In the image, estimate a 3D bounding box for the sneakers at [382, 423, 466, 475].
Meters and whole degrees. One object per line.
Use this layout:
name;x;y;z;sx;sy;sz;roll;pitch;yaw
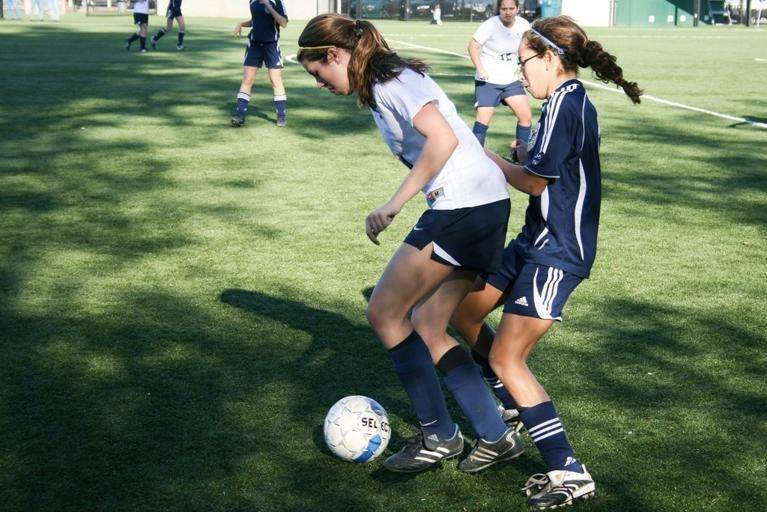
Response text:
sneakers;0.234;1.108;3.697;0.552;0.217;0.196;-15;3;-8

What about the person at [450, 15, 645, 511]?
person;0.887;-0.001;3.503;0.850;2.550;1.108;5;20;7

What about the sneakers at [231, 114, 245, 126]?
sneakers;-2.373;-2.195;10.226;0.134;0.155;0.358;-1;2;4

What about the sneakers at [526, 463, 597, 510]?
sneakers;0.968;1.249;3.478;0.419;0.190;0.198;-10;15;8

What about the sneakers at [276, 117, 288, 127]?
sneakers;-1.697;-2.223;10.379;0.143;0.165;0.384;1;14;-5
